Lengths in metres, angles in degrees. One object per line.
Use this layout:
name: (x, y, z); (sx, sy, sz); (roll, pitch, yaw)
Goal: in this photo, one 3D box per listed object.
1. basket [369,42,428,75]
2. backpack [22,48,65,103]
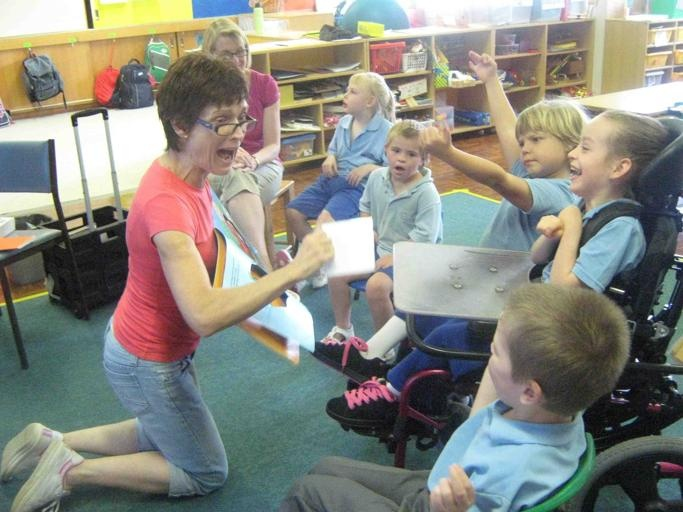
basket: (0.580, -2.002, 5.755); (0.554, 0.229, 0.351); (-11, 21, -30)
backpack: (-2.455, -1.472, 4.548); (0.214, 0.398, 0.290); (27, 46, 28)
